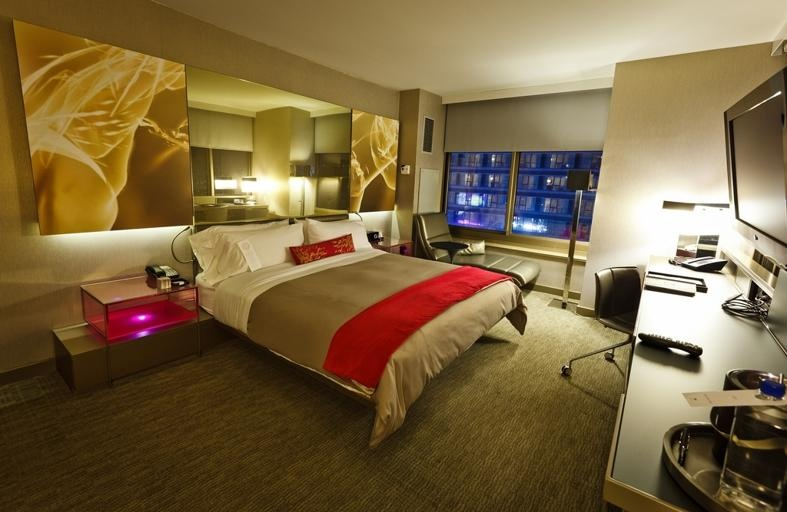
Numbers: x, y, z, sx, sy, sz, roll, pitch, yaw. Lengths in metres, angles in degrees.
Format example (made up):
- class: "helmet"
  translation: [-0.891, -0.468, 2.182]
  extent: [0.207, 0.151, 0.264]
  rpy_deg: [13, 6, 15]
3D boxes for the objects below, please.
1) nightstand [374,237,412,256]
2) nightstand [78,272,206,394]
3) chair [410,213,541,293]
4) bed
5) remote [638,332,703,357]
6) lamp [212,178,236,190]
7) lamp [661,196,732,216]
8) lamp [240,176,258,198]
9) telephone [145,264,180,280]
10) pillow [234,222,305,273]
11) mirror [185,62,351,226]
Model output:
- class: "nightstand"
  translation: [-0.001, -0.129, 6.885]
  extent: [0.308, 0.310, 0.326]
  rpy_deg: [15, 23, 40]
- class: "nightstand"
  translation: [-2.570, 0.709, 4.617]
  extent: [1.171, 0.896, 0.551]
  rpy_deg: [-8, 13, -39]
- class: "chair"
  translation: [1.205, -0.060, 6.972]
  extent: [1.835, 1.121, 0.980]
  rpy_deg: [10, 17, 37]
- class: "bed"
  translation: [-0.410, 0.497, 5.123]
  extent: [2.709, 1.589, 2.184]
  rpy_deg: [8, 13, 36]
- class: "remote"
  translation: [1.965, 0.628, 3.401]
  extent: [0.463, 0.120, 0.139]
  rpy_deg: [13, 27, 38]
- class: "lamp"
  translation: [-1.899, -0.808, 5.338]
  extent: [0.049, 0.139, 0.289]
  rpy_deg: [8, 12, 33]
- class: "lamp"
  translation: [3.319, -0.528, 5.174]
  extent: [0.608, 0.120, 0.149]
  rpy_deg: [4, 11, 16]
- class: "lamp"
  translation: [-1.700, -0.804, 5.531]
  extent: [0.204, 0.306, 0.213]
  rpy_deg: [7, 13, 26]
- class: "telephone"
  translation: [-2.332, 0.155, 4.739]
  extent: [0.262, 0.091, 0.191]
  rpy_deg: [11, 14, 27]
- class: "pillow"
  translation: [-1.392, -0.074, 5.231]
  extent: [0.152, 0.295, 0.510]
  rpy_deg: [-3, 13, 39]
- class: "mirror"
  translation: [-1.547, -1.359, 5.590]
  extent: [0.018, 1.462, 1.998]
  rpy_deg: [12, 13, 39]
